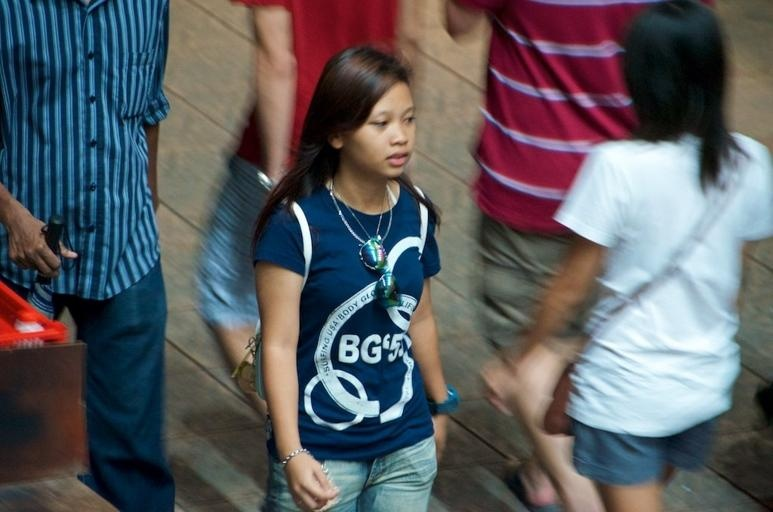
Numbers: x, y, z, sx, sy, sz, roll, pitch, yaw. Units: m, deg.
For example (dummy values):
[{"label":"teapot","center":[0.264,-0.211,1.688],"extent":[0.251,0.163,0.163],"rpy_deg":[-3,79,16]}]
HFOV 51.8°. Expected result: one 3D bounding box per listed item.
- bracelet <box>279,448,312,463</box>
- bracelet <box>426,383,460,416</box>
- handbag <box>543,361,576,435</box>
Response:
[{"label":"bracelet","center":[-0.292,0.631,2.533],"extent":[0.069,0.020,0.056],"rpy_deg":[-35,-10,4]},{"label":"bracelet","center":[0.209,0.544,3.016],"extent":[0.120,0.118,0.092],"rpy_deg":[-7,10,39]},{"label":"handbag","center":[0.610,0.502,2.781],"extent":[0.178,0.215,0.163],"rpy_deg":[-4,24,15]}]
